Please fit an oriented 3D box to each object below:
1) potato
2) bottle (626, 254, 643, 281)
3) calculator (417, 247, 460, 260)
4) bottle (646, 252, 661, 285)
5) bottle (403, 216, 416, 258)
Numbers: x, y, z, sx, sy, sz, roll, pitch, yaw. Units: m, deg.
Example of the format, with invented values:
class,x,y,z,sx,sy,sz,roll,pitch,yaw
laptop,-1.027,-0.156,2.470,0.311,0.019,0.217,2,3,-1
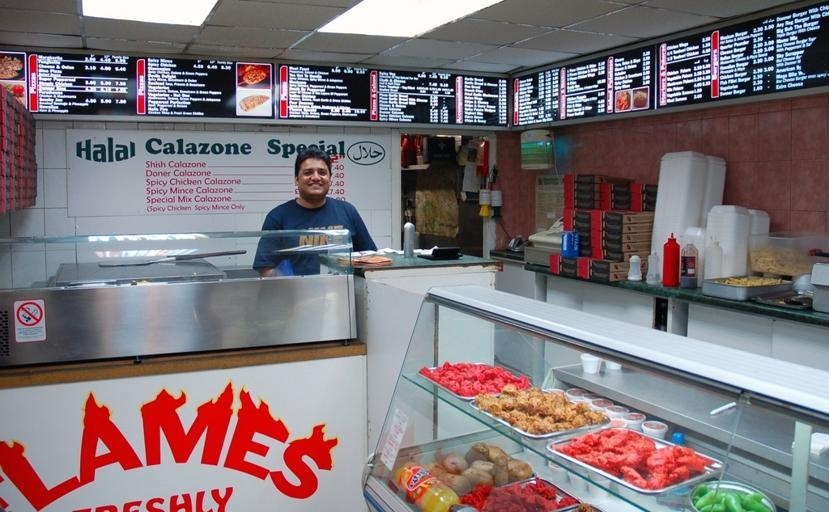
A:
class,x,y,z,sx,sy,sz,roll,pitch,yaw
potato,0.278,0.875,2.267,0.279,0.075,0.260,-2,1,-23
bottle,1.854,0.100,4.623,0.121,0.208,0.143,7,11,20
calculator,0.149,-0.020,3.704,0.140,0.054,0.178,1,3,-17
bottle,1.976,0.099,4.548,0.110,0.231,0.282,7,11,22
bottle,-0.033,-0.106,3.677,0.064,0.211,0.138,2,11,-4
